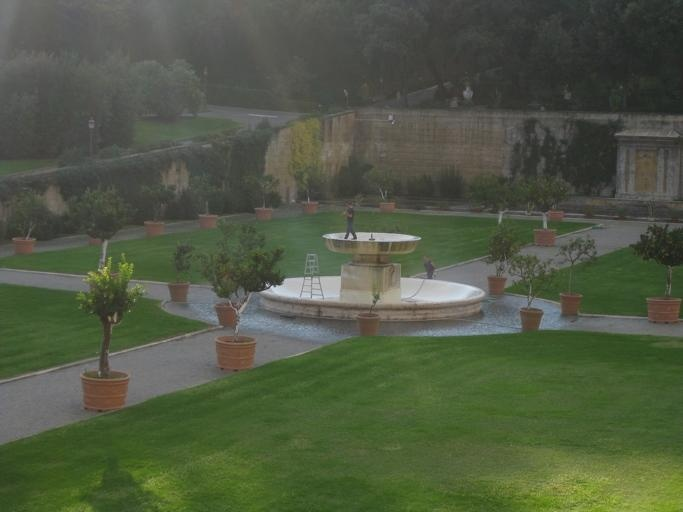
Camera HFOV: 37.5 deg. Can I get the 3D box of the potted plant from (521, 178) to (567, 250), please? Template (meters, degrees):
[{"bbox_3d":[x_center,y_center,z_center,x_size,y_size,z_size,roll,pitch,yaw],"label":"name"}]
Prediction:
[{"bbox_3d":[9.315,-1.943,46.094,1.808,2.695,1.626,-3,-3,1],"label":"potted plant"}]

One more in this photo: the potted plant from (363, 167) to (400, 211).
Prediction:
[{"bbox_3d":[2.683,-4.089,61.957,1.987,2.875,1.647,-4,2,-33],"label":"potted plant"}]
